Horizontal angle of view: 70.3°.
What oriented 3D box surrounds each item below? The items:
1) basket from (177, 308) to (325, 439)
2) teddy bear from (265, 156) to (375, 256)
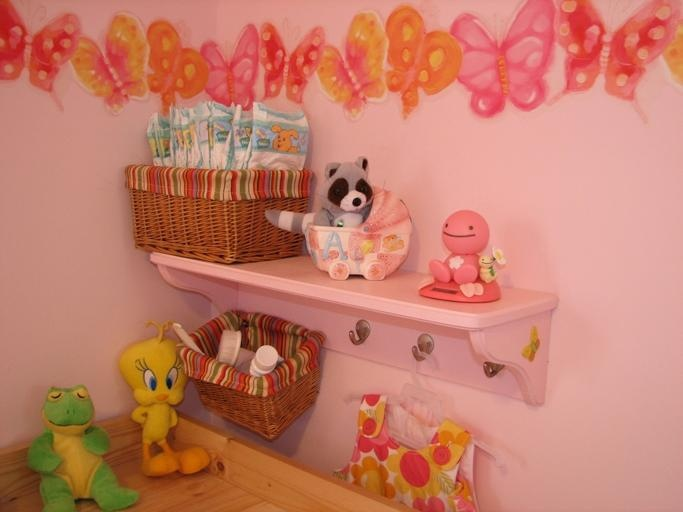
[{"bbox_3d":[-0.270,0.370,1.437,0.358,0.311,0.319,7,16,23],"label":"basket"},{"bbox_3d":[-0.055,-0.143,1.207,0.263,0.158,0.144,-2,4,43],"label":"teddy bear"}]
